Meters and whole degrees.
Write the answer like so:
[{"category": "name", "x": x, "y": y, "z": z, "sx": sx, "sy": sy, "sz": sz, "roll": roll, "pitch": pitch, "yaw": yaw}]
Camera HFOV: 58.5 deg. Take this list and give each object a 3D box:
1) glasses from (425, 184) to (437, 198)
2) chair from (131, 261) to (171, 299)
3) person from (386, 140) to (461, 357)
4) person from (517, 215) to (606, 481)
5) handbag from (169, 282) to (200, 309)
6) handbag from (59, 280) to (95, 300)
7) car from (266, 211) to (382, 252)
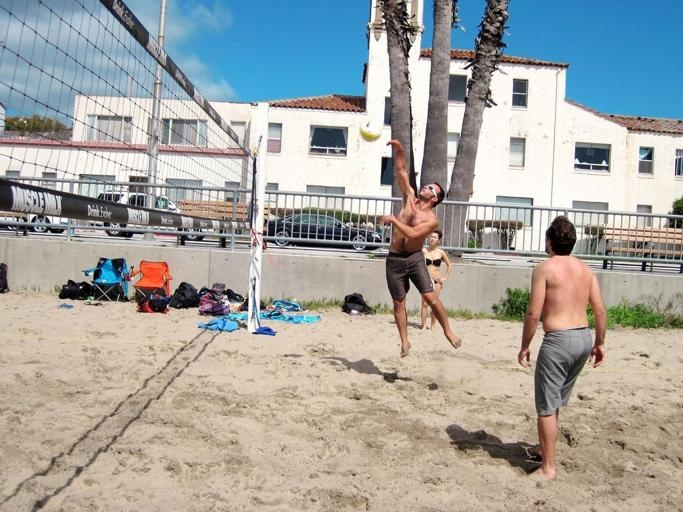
[{"category": "glasses", "x": 1.100, "y": -0.800, "z": 7.471, "sx": 0.043, "sy": 0.155, "sz": 0.136, "roll": -12, "pitch": 11, "yaw": -13}, {"category": "chair", "x": -3.319, "y": 0.361, "z": 10.644, "sx": 0.596, "sy": 0.611, "sz": 0.724, "roll": -1, "pitch": 12, "yaw": -6}, {"category": "person", "x": 0.926, "y": 0.056, "z": 7.584, "sx": 0.852, "sy": 2.870, "sz": 1.304, "roll": 3, "pitch": 11, "yaw": 5}, {"category": "person", "x": 1.990, "y": 0.822, "z": 5.552, "sx": 0.654, "sy": 2.275, "sz": 0.531, "roll": -6, "pitch": 14, "yaw": -36}, {"category": "handbag", "x": -2.696, "y": 0.680, "z": 10.411, "sx": 0.406, "sy": 0.459, "sz": 0.367, "roll": 2, "pitch": -31, "yaw": -6}, {"category": "handbag", "x": -4.690, "y": 0.556, "z": 10.763, "sx": 0.377, "sy": 0.211, "sz": 0.398, "roll": 2, "pitch": 6, "yaw": -26}, {"category": "car", "x": -0.362, "y": -0.438, "z": 11.860, "sx": 2.042, "sy": 0.725, "sz": 0.895, "roll": 1, "pitch": 1, "yaw": -4}]
